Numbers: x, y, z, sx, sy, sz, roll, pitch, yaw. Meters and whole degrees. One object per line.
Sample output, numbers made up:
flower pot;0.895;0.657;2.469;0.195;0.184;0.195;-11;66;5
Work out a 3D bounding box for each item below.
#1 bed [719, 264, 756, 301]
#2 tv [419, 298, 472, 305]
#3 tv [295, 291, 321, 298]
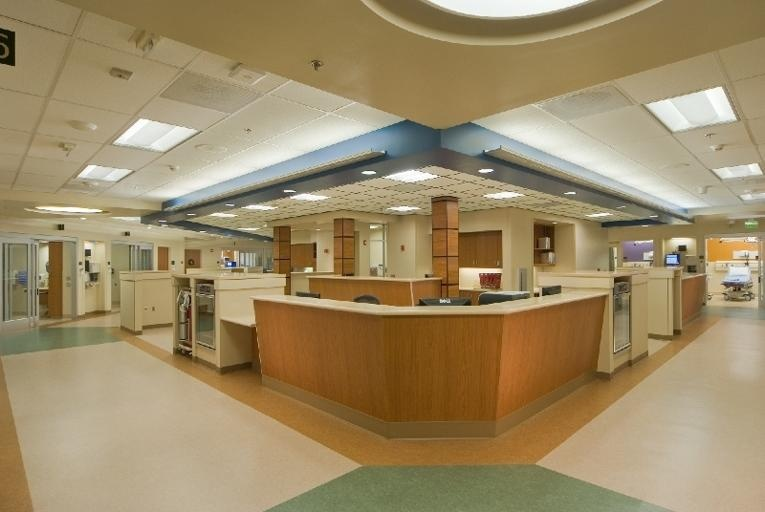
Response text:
bed;14.340;1.081;18.684;1.080;1.165;1.271;-4;4;34
tv;0.921;0.714;7.126;0.439;0.093;0.356;1;-2;-6
tv;-1.569;0.813;9.751;0.078;0.099;0.505;-3;3;-40
